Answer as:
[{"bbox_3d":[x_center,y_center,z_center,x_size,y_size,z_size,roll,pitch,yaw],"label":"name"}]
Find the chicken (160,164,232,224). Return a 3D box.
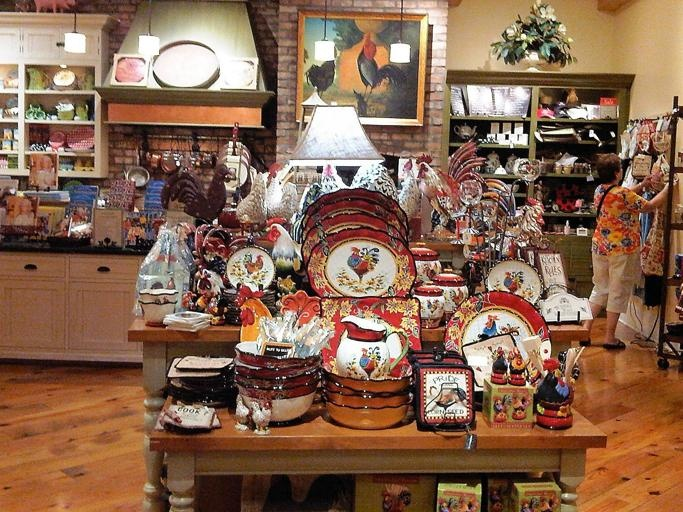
[{"bbox_3d":[-0.826,-0.363,3.934,0.382,0.374,0.184,9,22,-5],"label":"chicken"}]

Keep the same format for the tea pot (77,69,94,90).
[{"bbox_3d":[-2.785,-1.910,7.596,0.117,0.276,0.182,-8,-21,11],"label":"tea pot"}]

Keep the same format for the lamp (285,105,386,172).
[{"bbox_3d":[-0.031,-0.701,3.918,0.693,0.291,0.692,10,21,28],"label":"lamp"}]

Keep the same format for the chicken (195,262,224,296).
[{"bbox_3d":[-0.686,0.142,3.622,0.108,0.153,0.100,-23,22,11],"label":"chicken"}]

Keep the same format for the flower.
[{"bbox_3d":[2.304,-2.649,8.342,1.024,0.853,0.788,1,11,1],"label":"flower"}]

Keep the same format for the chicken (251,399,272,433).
[{"bbox_3d":[-0.350,0.705,3.005,0.090,0.133,0.067,-1,11,-8],"label":"chicken"}]

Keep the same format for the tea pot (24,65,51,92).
[{"bbox_3d":[-3.298,-1.902,7.472,0.202,0.276,0.136,-2,5,-11],"label":"tea pot"}]

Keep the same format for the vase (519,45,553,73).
[{"bbox_3d":[2.330,-2.338,8.328,0.295,0.211,0.298,1,5,1],"label":"vase"}]

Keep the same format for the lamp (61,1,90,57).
[{"bbox_3d":[-2.703,-2.306,6.975,0.239,0.541,1.000,-3,12,-19],"label":"lamp"}]

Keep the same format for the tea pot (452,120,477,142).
[{"bbox_3d":[1.513,-1.503,8.428,0.272,0.285,0.107,4,-11,12],"label":"tea pot"}]

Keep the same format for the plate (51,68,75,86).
[{"bbox_3d":[-2.992,-1.898,7.459,0.207,0.166,0.123,2,11,8],"label":"plate"}]

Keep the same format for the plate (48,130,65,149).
[{"bbox_3d":[-3.106,-1.256,7.533,0.185,0.203,0.072,3,-4,5],"label":"plate"}]

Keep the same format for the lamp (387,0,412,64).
[{"bbox_3d":[0.614,-2.303,7.048,0.227,0.653,0.587,1,11,4],"label":"lamp"}]

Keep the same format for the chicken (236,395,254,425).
[{"bbox_3d":[-0.422,0.686,3.014,0.076,0.123,0.120,-4,-27,4],"label":"chicken"}]

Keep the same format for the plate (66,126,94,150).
[{"bbox_3d":[-2.828,-1.266,7.526,0.267,0.273,0.073,-2,7,6],"label":"plate"}]

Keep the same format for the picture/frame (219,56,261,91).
[{"bbox_3d":[-1.063,-1.892,7.227,0.404,0.325,0.237,-1,11,-7],"label":"picture/frame"}]

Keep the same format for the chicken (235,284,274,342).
[{"bbox_3d":[-0.433,0.273,3.365,0.211,0.251,0.108,-4,10,-42],"label":"chicken"}]
